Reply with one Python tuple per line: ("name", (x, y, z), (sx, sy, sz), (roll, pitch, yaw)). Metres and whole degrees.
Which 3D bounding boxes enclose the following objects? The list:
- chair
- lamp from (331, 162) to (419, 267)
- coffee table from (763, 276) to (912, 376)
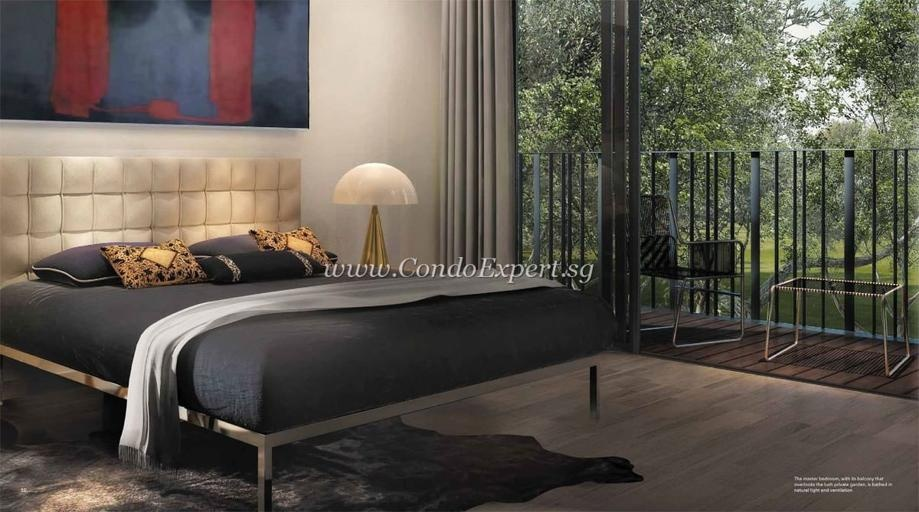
("chair", (2.120, 0.072, 6.185), (1.109, 1.253, 1.071), (4, 6, 14))
("lamp", (-0.774, -0.369, 6.275), (0.992, 1.093, 0.946), (0, 0, -24))
("coffee table", (3.215, 0.397, 5.461), (1.226, 0.803, 0.797), (5, 10, 44))
